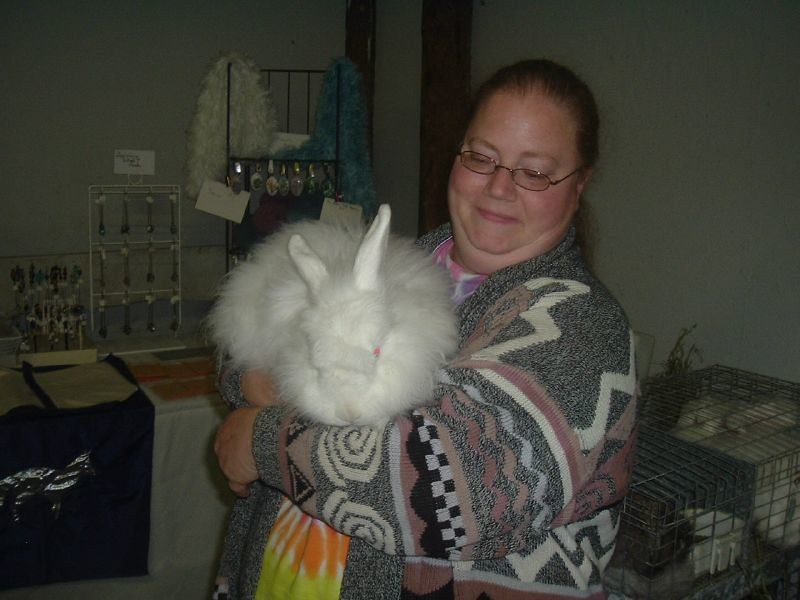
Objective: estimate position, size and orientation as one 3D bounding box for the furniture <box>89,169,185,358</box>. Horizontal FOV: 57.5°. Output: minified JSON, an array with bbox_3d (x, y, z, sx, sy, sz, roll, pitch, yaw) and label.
[{"bbox_3d":[-1.460,-0.190,4.071,0.535,0.942,0.195,2,6,-25],"label":"furniture"}]

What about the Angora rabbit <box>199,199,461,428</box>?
[{"bbox_3d":[-0.276,0.077,2.649,0.814,0.755,1.024,-2,38,-23],"label":"Angora rabbit"}]

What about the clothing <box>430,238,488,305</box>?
[{"bbox_3d":[0.200,-0.096,2.628,0.179,0.169,0.229,38,1,-10],"label":"clothing"}]
